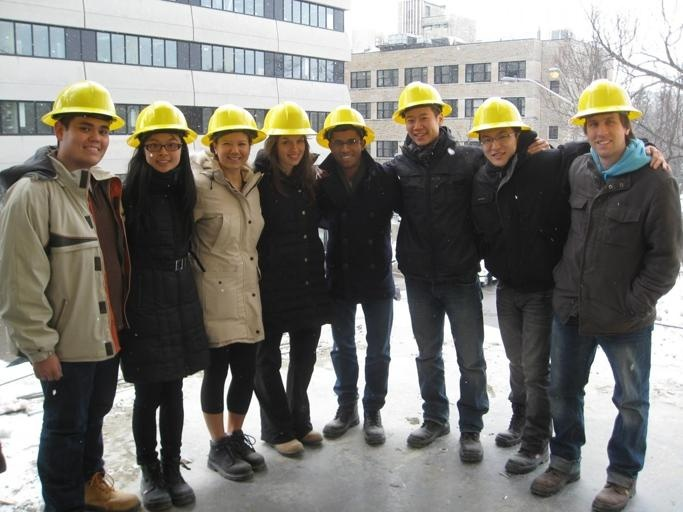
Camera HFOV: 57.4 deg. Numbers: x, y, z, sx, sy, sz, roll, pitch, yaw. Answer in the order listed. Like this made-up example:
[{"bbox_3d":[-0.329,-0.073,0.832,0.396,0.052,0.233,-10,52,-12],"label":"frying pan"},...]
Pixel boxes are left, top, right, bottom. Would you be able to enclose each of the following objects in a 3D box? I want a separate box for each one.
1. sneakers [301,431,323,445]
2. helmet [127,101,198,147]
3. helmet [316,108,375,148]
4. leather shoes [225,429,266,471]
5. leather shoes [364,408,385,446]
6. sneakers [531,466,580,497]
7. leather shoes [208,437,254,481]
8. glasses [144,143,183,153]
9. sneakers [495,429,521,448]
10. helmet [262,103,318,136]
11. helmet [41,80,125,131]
[{"bbox_3d":[-0.238,1.503,5.164,0.086,0.072,0.175,1,-13,-36],"label":"sneakers"},{"bbox_3d":[-1.298,-0.925,4.518,0.408,0.221,0.436,1,-8,-12],"label":"helmet"},{"bbox_3d":[0.029,-1.199,5.406,0.420,0.217,0.432,3,-16,-1],"label":"helmet"},{"bbox_3d":[-0.747,1.490,4.903,0.167,0.170,0.412,-10,18,-41],"label":"leather shoes"},{"bbox_3d":[0.271,1.446,5.284,0.171,0.205,0.495,-1,-12,-1],"label":"leather shoes"},{"bbox_3d":[1.570,1.627,4.559,0.405,0.161,0.138,-1,-12,-32],"label":"sneakers"},{"bbox_3d":[-0.874,1.539,4.758,0.172,0.215,0.455,-1,1,-43],"label":"leather shoes"},{"bbox_3d":[-1.238,-0.746,4.327,0.244,0.065,0.081,-3,7,-9],"label":"glasses"},{"bbox_3d":[1.364,1.490,5.132,0.094,0.107,0.228,-14,-25,43],"label":"sneakers"},{"bbox_3d":[-0.438,-1.095,4.986,0.378,0.286,0.304,-3,7,-7],"label":"helmet"},{"bbox_3d":[-1.714,-1.008,4.137,0.438,0.215,0.403,-5,7,-40],"label":"helmet"}]
